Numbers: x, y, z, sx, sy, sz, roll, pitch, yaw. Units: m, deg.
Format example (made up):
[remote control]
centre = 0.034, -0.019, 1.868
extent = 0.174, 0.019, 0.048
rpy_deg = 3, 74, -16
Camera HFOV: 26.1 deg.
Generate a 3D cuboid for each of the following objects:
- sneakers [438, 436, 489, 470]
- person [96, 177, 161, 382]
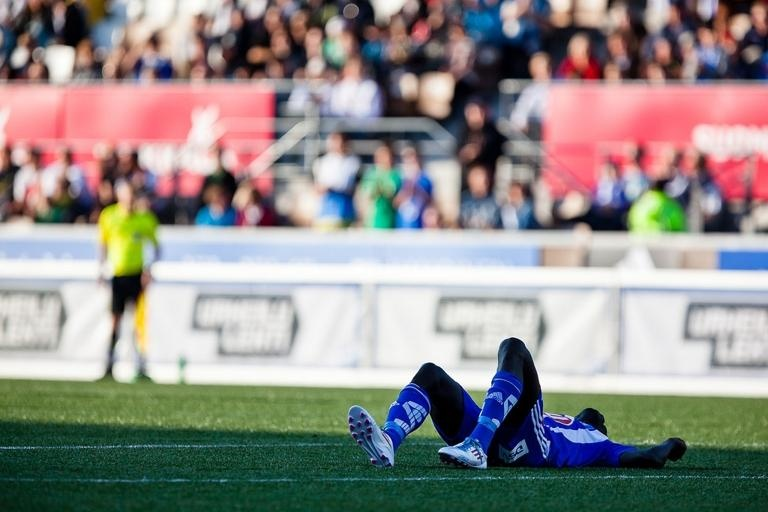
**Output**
[sneakers]
centre = 0.805, 1.987, 16.996
extent = 0.452, 0.258, 0.257
rpy_deg = 18, -27, -10
[person]
centre = -3.399, 0.256, 22.064
extent = 0.715, 2.624, 0.701
rpy_deg = -2, 17, -12
